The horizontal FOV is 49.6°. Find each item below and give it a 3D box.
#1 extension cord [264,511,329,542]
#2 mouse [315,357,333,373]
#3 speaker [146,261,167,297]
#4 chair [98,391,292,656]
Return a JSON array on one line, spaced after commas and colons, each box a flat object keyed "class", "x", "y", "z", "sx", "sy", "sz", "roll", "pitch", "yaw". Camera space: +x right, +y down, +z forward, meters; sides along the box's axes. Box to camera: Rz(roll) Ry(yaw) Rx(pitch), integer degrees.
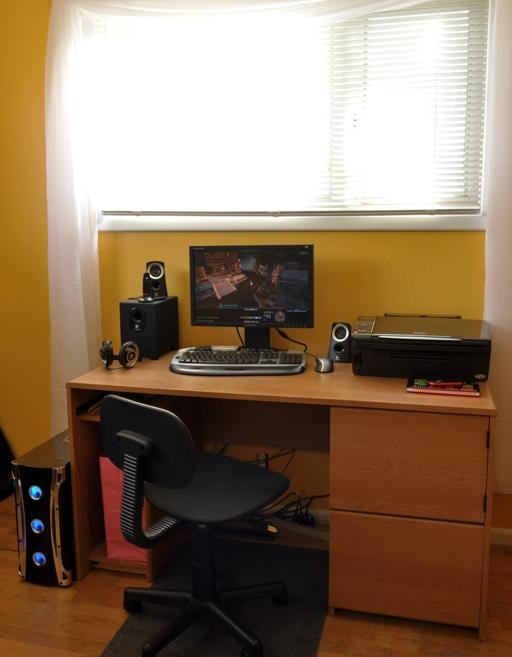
[{"class": "extension cord", "x": 0.197, "y": 0.778, "z": 2.277, "sx": 0.201, "sy": 0.056, "sz": 0.129, "roll": 4, "pitch": 12, "yaw": 24}, {"class": "mouse", "x": 0.236, "y": 0.129, "z": 1.910, "sx": 0.037, "sy": 0.038, "sz": 0.057, "roll": -1, "pitch": 4, "yaw": 6}, {"class": "speaker", "x": -0.421, "y": -0.198, "z": 2.262, "sx": 0.090, "sy": 0.147, "sz": 0.103, "roll": -4, "pitch": 8, "yaw": -29}, {"class": "chair", "x": -0.183, "y": 0.531, "z": 1.594, "sx": 0.506, "sy": 0.777, "sz": 0.472, "roll": -7, "pitch": 9, "yaw": -44}]
